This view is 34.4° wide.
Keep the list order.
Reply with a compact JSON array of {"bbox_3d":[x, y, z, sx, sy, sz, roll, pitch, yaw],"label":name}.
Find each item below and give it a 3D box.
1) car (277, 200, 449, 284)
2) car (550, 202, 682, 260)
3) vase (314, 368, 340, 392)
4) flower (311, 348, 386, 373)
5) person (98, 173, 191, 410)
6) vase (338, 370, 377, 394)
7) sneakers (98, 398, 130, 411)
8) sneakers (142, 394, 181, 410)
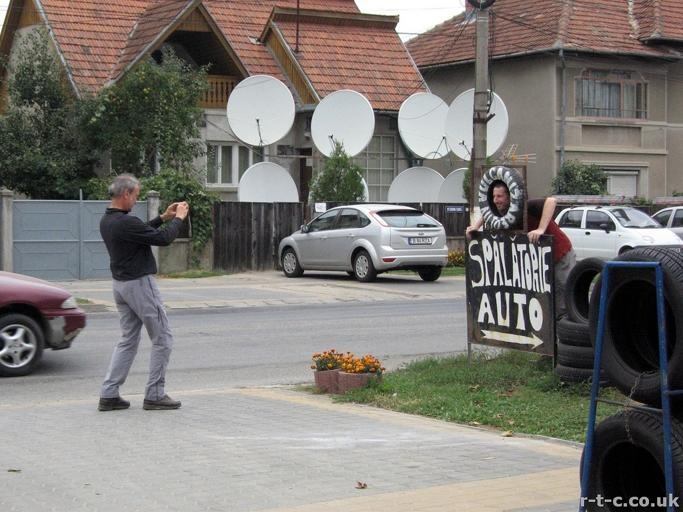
[{"bbox_3d":[0.466,-0.293,27.073,4.097,1.808,1.362,2,2,43],"label":"car"},{"bbox_3d":[6.155,-0.553,24.783,1.263,1.237,2.383,0,-3,-32],"label":"car"},{"bbox_3d":[-0.168,1.516,13.514,0.248,0.231,0.243,1,0,7],"label":"vase"},{"bbox_3d":[0.083,1.312,13.572,0.526,0.252,0.442,3,-1,14],"label":"flower"},{"bbox_3d":[-2.311,0.409,12.732,0.929,2.701,0.732,0,1,-14],"label":"person"},{"bbox_3d":[0.202,1.511,13.373,0.277,0.204,0.291,1,-2,-28],"label":"vase"},{"bbox_3d":[-2.589,1.696,12.708,0.368,0.196,0.139,-5,7,-22],"label":"sneakers"},{"bbox_3d":[-2.048,1.689,12.759,0.434,0.240,0.174,-2,1,-4],"label":"sneakers"}]
